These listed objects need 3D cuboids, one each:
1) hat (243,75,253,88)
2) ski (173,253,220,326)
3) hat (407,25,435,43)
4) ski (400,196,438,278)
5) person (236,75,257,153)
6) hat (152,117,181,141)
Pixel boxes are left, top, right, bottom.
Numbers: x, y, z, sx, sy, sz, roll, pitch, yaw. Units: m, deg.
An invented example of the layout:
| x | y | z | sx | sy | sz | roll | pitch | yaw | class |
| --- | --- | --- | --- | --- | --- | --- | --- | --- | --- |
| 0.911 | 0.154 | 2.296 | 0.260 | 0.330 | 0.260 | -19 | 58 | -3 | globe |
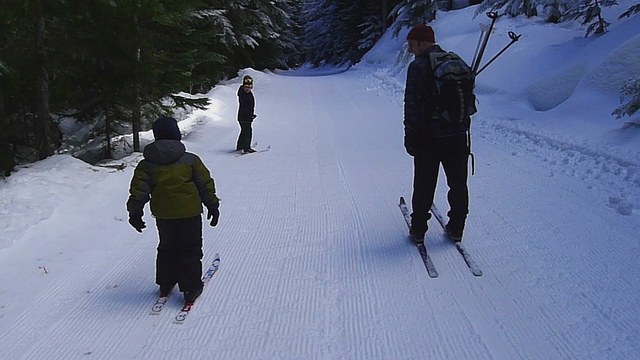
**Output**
| x | y | z | sx | sy | sz | roll | pitch | yaw | class |
| --- | --- | --- | --- | --- | --- | --- | --- | --- | --- |
| -2.204 | -3.059 | 11.792 | 0.283 | 0.388 | 0.510 | -5 | 31 | -11 | hat |
| -2.127 | 1.838 | 6.860 | 0.244 | 0.190 | 1.600 | -21 | 26 | 25 | ski |
| 1.825 | -2.595 | 6.926 | 0.352 | 0.188 | 0.338 | 4 | 15 | 12 | hat |
| 1.882 | 1.141 | 7.564 | 0.194 | 0.216 | 1.810 | -3 | 37 | -7 | ski |
| -2.322 | -2.037 | 11.935 | 0.596 | 2.314 | 1.162 | -3 | 32 | -9 | person |
| -2.555 | -0.887 | 6.533 | 0.433 | 0.444 | 0.535 | 8 | 5 | -14 | hat |
